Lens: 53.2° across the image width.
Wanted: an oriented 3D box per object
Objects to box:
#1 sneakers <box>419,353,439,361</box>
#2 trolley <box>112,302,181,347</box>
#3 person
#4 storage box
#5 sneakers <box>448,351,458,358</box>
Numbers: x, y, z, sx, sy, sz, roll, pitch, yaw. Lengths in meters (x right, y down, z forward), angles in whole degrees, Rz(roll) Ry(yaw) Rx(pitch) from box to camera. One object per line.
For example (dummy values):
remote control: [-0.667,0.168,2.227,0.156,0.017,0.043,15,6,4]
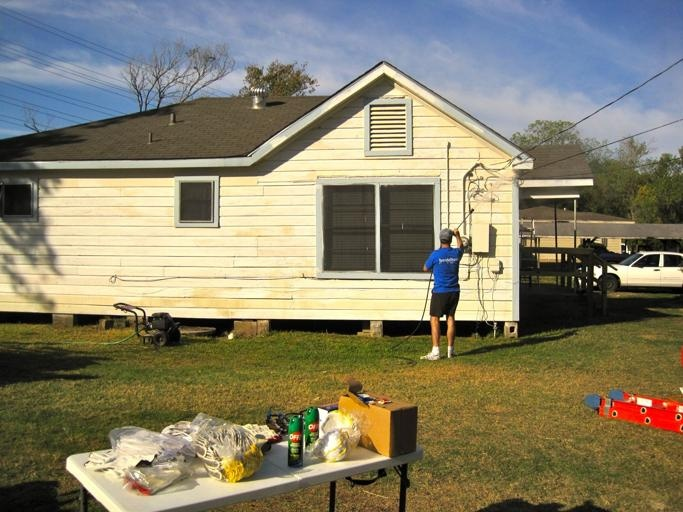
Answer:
sneakers: [1.560,1.792,11.993,0.369,0.136,0.131,1,-2,25]
trolley: [-3.841,1.349,13.407,1.251,0.713,0.652,-1,-1,13]
person: [1.788,0.673,12.161,0.646,2.297,0.808,2,5,9]
storage box: [0.323,1.513,6.546,0.449,0.511,0.818,-2,3,-41]
sneakers: [1.970,1.782,12.261,0.131,0.088,0.122,0,-4,-1]
